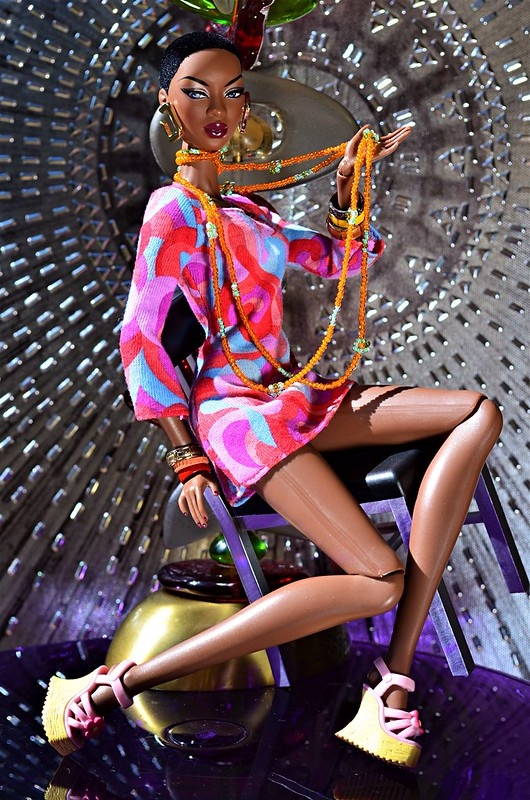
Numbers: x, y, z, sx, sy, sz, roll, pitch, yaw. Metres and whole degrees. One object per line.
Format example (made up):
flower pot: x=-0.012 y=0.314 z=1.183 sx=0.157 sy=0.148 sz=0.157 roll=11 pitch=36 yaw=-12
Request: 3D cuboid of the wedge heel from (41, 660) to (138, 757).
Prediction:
wedge heel: x=-0.231 y=0.381 z=0.722 sx=0.077 sy=0.185 sz=0.063 roll=-21 pitch=87 yaw=-46

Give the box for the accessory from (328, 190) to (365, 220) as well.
accessory: x=0.118 y=-0.305 z=0.907 sx=0.043 sy=0.034 sz=0.053 roll=-4 pitch=13 yaw=7

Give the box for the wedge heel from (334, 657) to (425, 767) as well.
wedge heel: x=0.137 y=0.357 z=0.638 sx=0.084 sy=0.100 sz=0.087 roll=25 pitch=51 yaw=27
